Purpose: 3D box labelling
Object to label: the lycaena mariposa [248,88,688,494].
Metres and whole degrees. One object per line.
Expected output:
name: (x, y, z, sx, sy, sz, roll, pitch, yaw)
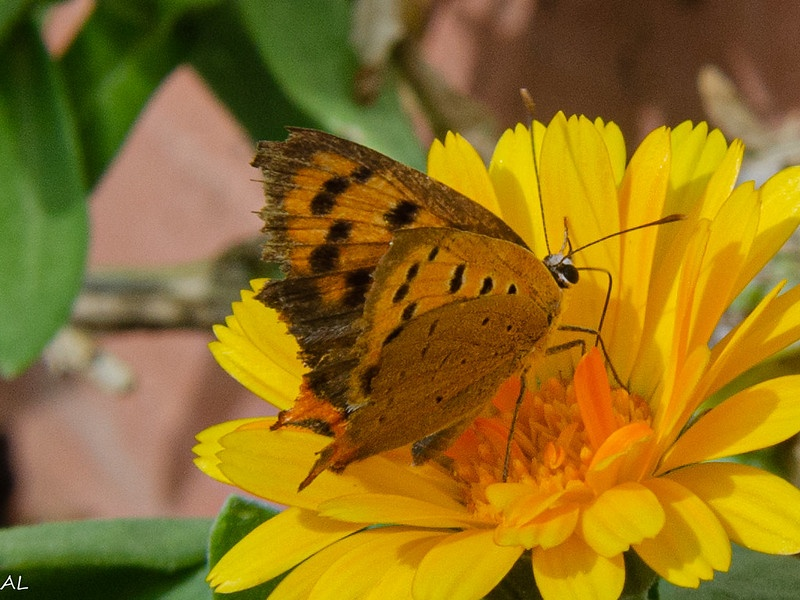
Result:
lycaena mariposa: (0.008, -0.001, 1.083, 0.421, 0.420, 0.320, -32, 87, 3)
